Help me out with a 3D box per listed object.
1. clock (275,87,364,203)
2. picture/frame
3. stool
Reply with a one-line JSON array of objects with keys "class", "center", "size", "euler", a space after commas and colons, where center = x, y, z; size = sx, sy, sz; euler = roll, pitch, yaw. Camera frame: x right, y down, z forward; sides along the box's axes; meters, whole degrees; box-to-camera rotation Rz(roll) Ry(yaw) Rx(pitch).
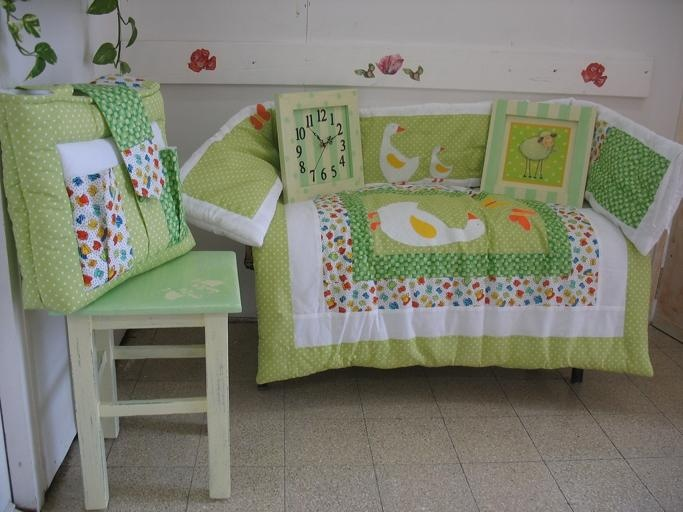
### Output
[{"class": "clock", "center": [-0.096, -0.451, 2.431], "size": [0.438, 0.511, 0.081], "euler": [-10, 8, -31]}, {"class": "picture/frame", "center": [0.846, -0.428, 2.501], "size": [0.416, 0.433, 0.028], "euler": [11, 3, 14]}, {"class": "stool", "center": [-0.505, 0.320, 2.140], "size": [0.713, 0.857, 0.667], "euler": [-2, 20, -8]}]
